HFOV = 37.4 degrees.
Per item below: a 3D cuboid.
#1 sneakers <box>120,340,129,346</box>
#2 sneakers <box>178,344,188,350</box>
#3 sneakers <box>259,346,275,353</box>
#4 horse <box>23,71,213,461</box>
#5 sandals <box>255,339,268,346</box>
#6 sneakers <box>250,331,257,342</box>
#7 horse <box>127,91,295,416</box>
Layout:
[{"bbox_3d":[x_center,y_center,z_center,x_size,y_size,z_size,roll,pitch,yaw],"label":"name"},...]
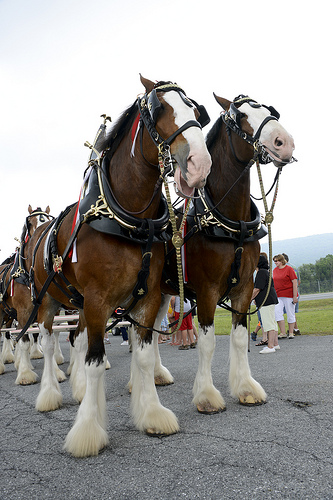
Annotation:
[{"bbox_3d":[-0.975,2.129,11.344,0.111,0.104,0.264,0,2,-16],"label":"sneakers"},{"bbox_3d":[0.300,1.873,9.553,0.217,0.078,0.077,1,1,23],"label":"sneakers"},{"bbox_3d":[1.579,1.604,7.910,0.286,0.096,0.089,4,-11,-25],"label":"sneakers"},{"bbox_3d":[-0.667,0.299,4.572,1.098,2.764,3.562,3,-13,-30],"label":"horse"},{"bbox_3d":[1.777,1.764,9.320,0.241,0.078,0.080,3,-7,-15],"label":"sandals"},{"bbox_3d":[1.840,1.817,10.391,0.077,0.194,0.145,10,-27,-8],"label":"sneakers"},{"bbox_3d":[0.417,0.223,5.253,0.968,2.999,3.364,8,-20,-17],"label":"horse"}]
